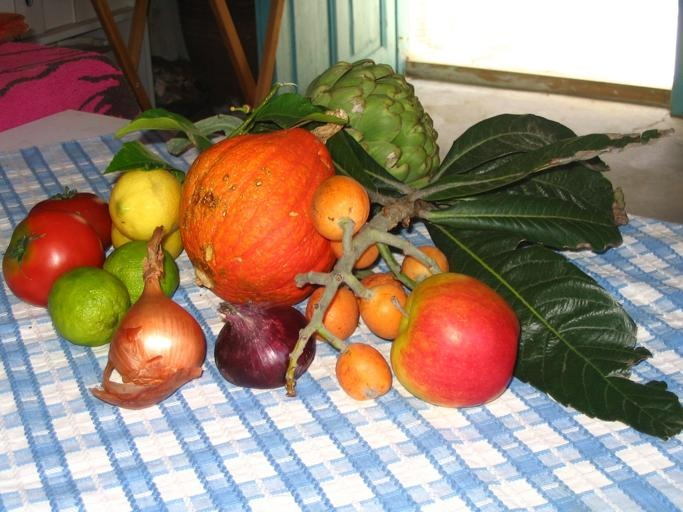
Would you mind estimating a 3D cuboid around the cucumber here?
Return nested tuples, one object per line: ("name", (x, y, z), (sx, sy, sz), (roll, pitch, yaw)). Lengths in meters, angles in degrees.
("cucumber", (0.124, 0.080, 0.692), (0.200, 0.128, 0.183), (0, 22, 5))

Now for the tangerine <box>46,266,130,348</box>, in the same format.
("tangerine", (-0.309, 0.065, 0.720), (0.108, 0.076, 0.131), (-2, 21, -9))

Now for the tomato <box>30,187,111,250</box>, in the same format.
("tomato", (-0.437, -0.057, 0.924), (0.141, 0.117, 0.110), (-6, 57, -23))
